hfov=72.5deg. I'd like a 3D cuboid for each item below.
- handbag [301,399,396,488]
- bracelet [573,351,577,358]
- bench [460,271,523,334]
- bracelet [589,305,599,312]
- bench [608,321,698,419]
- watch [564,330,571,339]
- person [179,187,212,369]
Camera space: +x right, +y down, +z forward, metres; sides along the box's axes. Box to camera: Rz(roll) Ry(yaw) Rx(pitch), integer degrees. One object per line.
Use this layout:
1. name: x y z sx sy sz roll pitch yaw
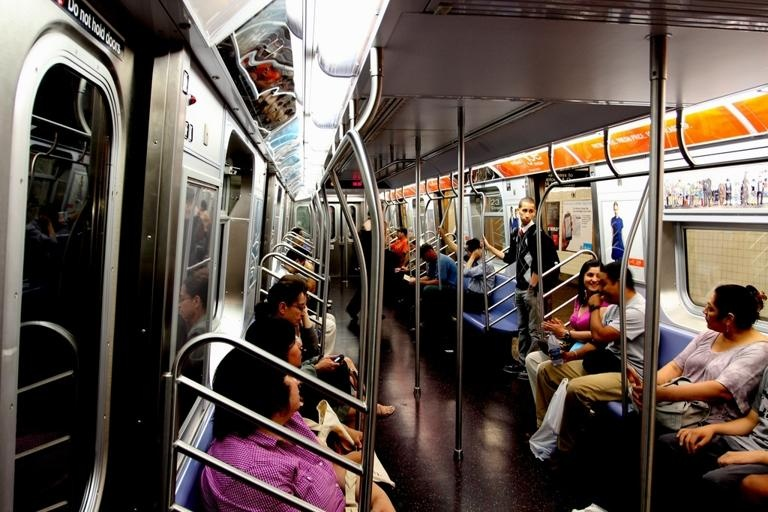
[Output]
1. handbag: -0.291 1.420 3.833 0.572 0.619 0.552 -3 8 -10
2. bracelet: 1.863 0.968 5.087 0.014 0.056 0.056 8 6 3
3. bench: 1.643 0.501 7.654 0.555 0.681 1.579 0 2 -7
4. bracelet: 2.009 0.507 4.978 0.071 0.052 0.077 8 -14 -11
5. bench: 2.338 1.121 4.665 0.695 0.834 0.859 1 7 4
6. watch: 1.766 0.771 5.050 0.092 0.054 0.119 10 7 25
7. person: -1.225 0.069 3.391 0.245 1.065 0.844 -4 8 -17
